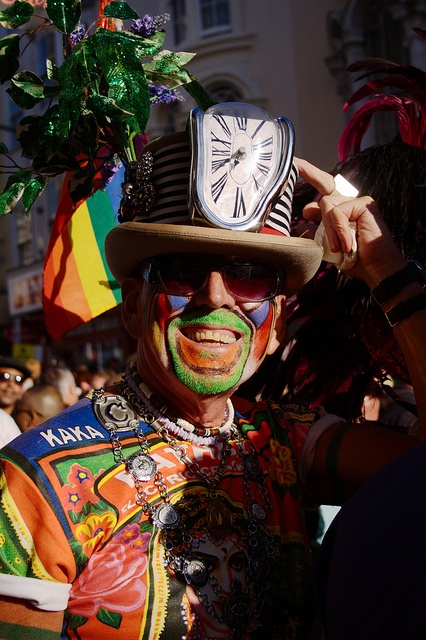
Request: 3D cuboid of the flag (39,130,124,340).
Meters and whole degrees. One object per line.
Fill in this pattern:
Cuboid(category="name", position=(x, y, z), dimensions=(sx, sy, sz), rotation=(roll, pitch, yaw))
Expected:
Cuboid(category="flag", position=(-0.425, -0.313, 2.735), dimensions=(0.175, 0.661, 0.360), rotation=(-11, 15, -31))

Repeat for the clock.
Cuboid(category="clock", position=(0.057, -0.355, 1.661), dimensions=(0.279, 0.294, 0.046), rotation=(-3, 11, -27))

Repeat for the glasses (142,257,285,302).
Cuboid(category="glasses", position=(0.001, -0.118, 1.758), dimensions=(0.364, 0.099, 0.209), rotation=(-6, 11, -34))
